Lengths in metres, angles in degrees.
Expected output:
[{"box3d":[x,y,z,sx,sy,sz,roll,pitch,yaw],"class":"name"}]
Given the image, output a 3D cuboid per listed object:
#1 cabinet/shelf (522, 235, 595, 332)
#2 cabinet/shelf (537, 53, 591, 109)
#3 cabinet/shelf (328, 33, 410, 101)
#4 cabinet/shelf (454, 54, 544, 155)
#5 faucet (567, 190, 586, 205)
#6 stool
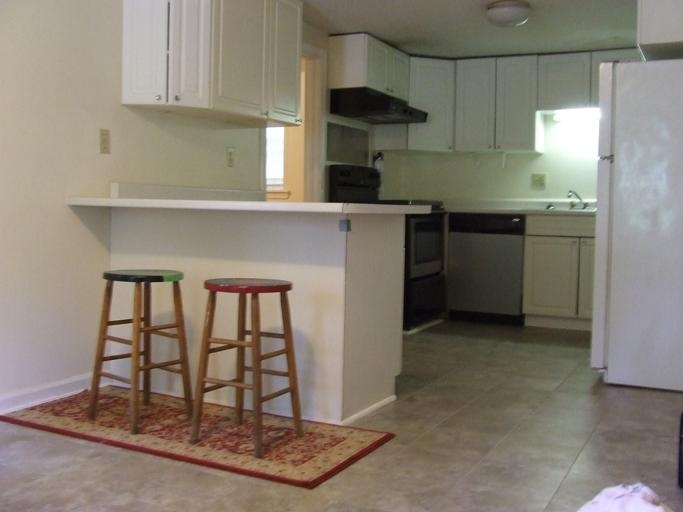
[{"box3d":[2.036,0.166,5.533,0.719,0.920,0.559,1,15,15],"class":"cabinet/shelf"},{"box3d":[2.157,-1.653,5.727,0.504,0.497,0.265,12,27,43],"class":"cabinet/shelf"},{"box3d":[0.295,-1.727,5.710,0.393,0.522,1.046,5,9,28],"class":"cabinet/shelf"},{"box3d":[1.546,-1.487,5.854,0.899,1.080,0.374,1,3,23],"class":"cabinet/shelf"},{"box3d":[2.264,-0.554,5.833,0.169,0.160,0.130,3,9,12],"class":"faucet"},{"box3d":[-0.690,0.544,3.060,0.784,0.569,0.294,2,4,27],"class":"stool"}]
